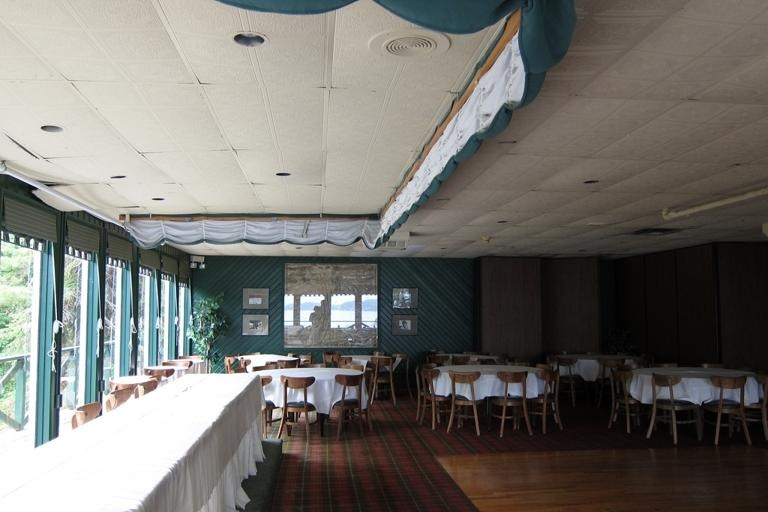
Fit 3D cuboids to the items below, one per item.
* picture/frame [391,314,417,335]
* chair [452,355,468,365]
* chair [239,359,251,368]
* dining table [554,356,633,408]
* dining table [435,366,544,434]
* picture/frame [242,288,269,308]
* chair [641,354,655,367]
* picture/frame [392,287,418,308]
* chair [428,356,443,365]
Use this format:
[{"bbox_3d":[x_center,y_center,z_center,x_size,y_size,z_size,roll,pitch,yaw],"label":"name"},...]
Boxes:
[{"bbox_3d":[0.415,1.713,13.026,0.557,0.428,0.070,1,-8,-7],"label":"picture/frame"},{"bbox_3d":[1.457,2.075,10.443,0.195,0.104,0.185,3,-7,-18],"label":"chair"},{"bbox_3d":[-2.585,2.002,9.730,0.241,0.111,0.227,0,-2,-5],"label":"chair"},{"bbox_3d":[4.001,2.230,10.245,1.451,0.799,1.411,-1,-7,12],"label":"dining table"},{"bbox_3d":[1.572,2.092,8.167,1.275,0.685,1.279,-5,-11,25],"label":"dining table"},{"bbox_3d":[-3.160,1.025,12.742,0.559,0.428,0.036,0,-4,-7],"label":"picture/frame"},{"bbox_3d":[5.319,2.145,10.818,0.214,0.210,0.836,0,-2,25],"label":"chair"},{"bbox_3d":[0.445,1.045,13.089,0.579,0.393,0.039,1,-6,-9],"label":"picture/frame"},{"bbox_3d":[1.001,2.100,10.564,0.240,0.213,0.181,1,-6,-1],"label":"chair"}]
